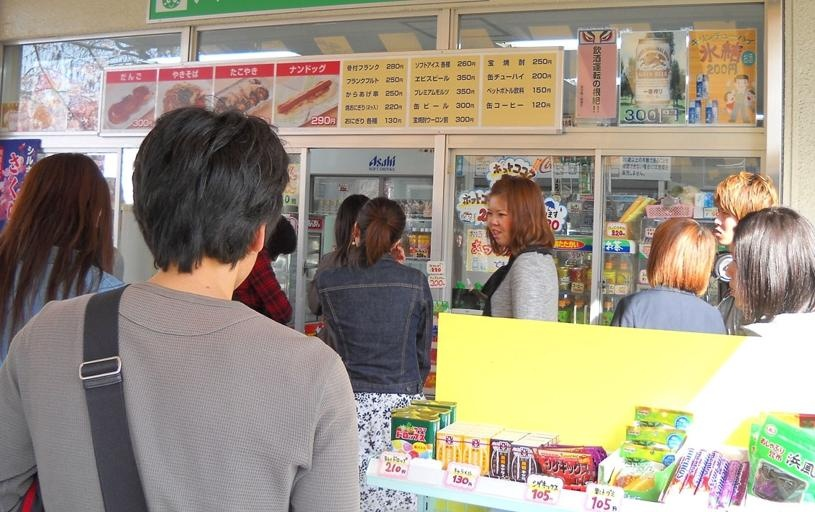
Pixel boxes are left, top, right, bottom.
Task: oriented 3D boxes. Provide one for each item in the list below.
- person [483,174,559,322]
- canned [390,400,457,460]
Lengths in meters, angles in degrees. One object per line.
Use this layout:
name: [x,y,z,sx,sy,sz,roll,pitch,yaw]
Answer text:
person: [0.577,-0.043,3.296,0.334,0.713,0.527,2,3,-6]
canned: [0.059,0.620,2.366,0.187,0.163,0.173,-1,-6,26]
